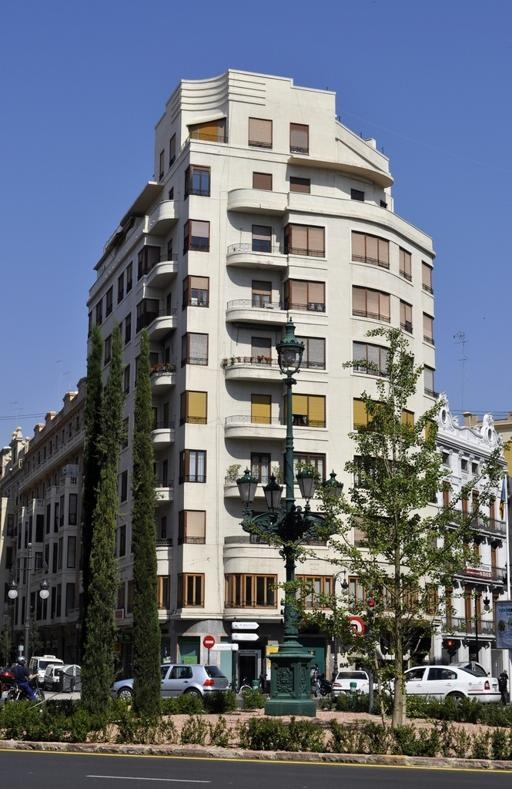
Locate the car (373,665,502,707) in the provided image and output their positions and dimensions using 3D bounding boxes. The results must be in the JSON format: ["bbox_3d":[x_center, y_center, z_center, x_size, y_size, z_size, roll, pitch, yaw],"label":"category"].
[{"bbox_3d":[4.960,7.295,32.237,2.233,0.929,2.039,0,-14,1],"label":"car"}]

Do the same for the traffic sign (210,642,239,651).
[{"bbox_3d":[-1.214,9.446,47.772,0.675,0.205,0.689,2,-7,-16],"label":"traffic sign"}]

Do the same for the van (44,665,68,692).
[{"bbox_3d":[-8.494,11.886,53.297,0.916,1.010,1.762,2,-15,-13],"label":"van"}]

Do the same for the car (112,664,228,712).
[{"bbox_3d":[-2.387,7.879,35.383,2.847,1.016,4.106,6,-16,-22],"label":"car"}]
